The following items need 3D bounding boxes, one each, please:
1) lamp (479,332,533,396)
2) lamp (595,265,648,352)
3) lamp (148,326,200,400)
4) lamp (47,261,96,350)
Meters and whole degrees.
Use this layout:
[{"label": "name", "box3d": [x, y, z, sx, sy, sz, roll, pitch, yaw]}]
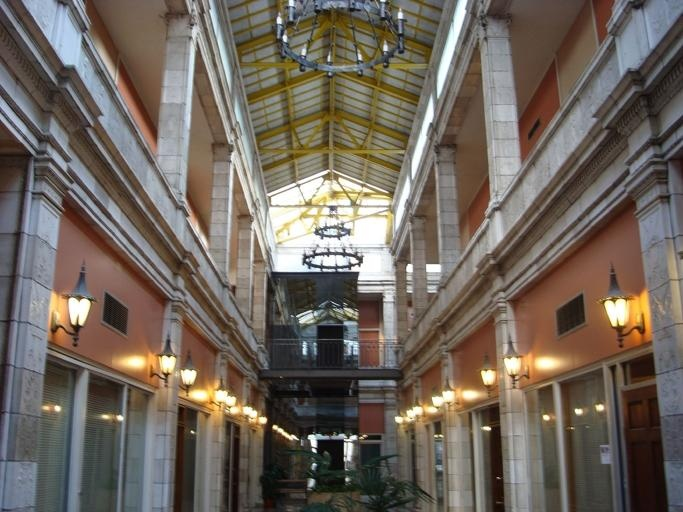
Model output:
[{"label": "lamp", "box3d": [2.868, 1.884, 11.047, 0.466, 0.796, 1.165, 14, -35, -5]}, {"label": "lamp", "box3d": [3.112, 0.557, 7.358, 0.449, 0.966, 0.428, -8, -7, 24]}, {"label": "lamp", "box3d": [-2.812, 1.897, 10.687, 0.835, 0.875, 1.254, -11, -29, 9]}, {"label": "lamp", "box3d": [-3.103, 0.518, 7.522, 0.404, 1.152, 0.704, 1, -23, -5]}]
